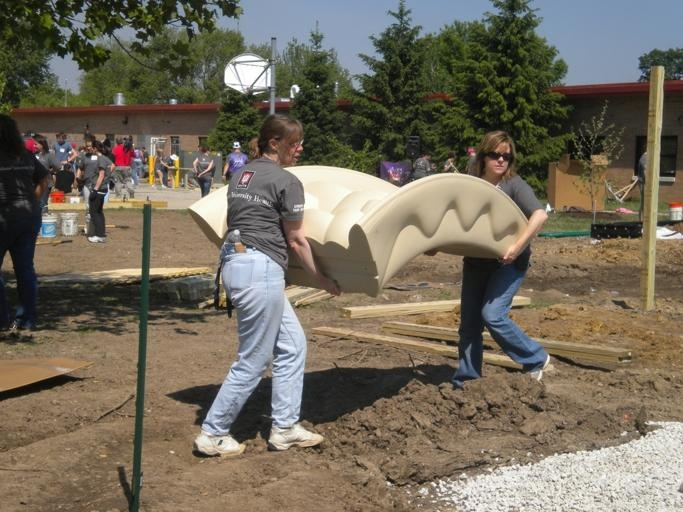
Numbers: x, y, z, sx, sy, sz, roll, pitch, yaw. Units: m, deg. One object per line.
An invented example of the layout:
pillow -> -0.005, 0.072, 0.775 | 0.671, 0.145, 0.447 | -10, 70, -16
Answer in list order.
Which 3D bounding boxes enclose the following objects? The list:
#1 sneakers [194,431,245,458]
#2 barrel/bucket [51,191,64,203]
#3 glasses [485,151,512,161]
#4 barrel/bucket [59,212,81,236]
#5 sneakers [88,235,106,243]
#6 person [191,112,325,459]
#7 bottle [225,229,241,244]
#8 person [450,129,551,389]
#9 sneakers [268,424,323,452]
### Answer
sneakers -> -0.952, 1.477, 5.832 | 0.417, 0.159, 0.162 | 4, 6, -15
barrel/bucket -> -7.417, -1.530, 19.328 | 0.404, 0.240, 0.364 | 0, 1, 1
glasses -> 1.350, -0.850, 6.346 | 0.209, 0.089, 0.052 | 1, 15, 9
barrel/bucket -> -5.969, -0.693, 16.357 | 0.584, 0.532, 0.519 | 0, 3, -5
sneakers -> -5.080, -0.347, 15.370 | 0.329, 0.122, 0.123 | 4, 14, -5
person -> -0.611, 0.247, 5.733 | 0.750, 2.615, 1.137 | 10, 19, 38
bottle -> -0.828, -0.148, 5.655 | 0.141, 0.064, 0.210 | 0, 4, -2
person -> 1.393, 0.058, 6.449 | 0.892, 2.241, 0.718 | -2, 15, -1
sneakers -> -0.390, 1.430, 5.934 | 0.493, 0.183, 0.166 | -1, 8, -21
